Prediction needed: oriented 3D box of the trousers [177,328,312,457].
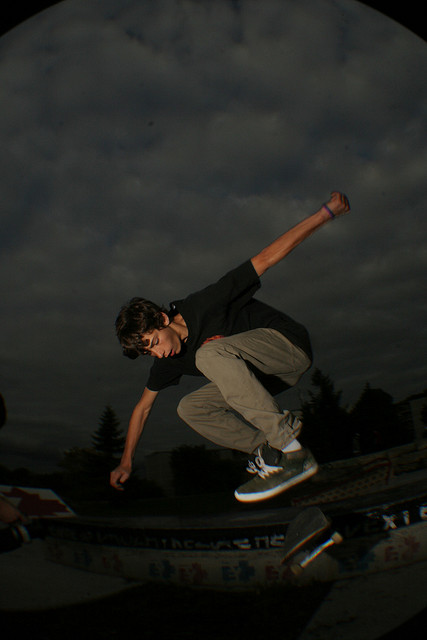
[{"bbox_3d":[0.332,0.754,6.410,1.208,1.378,1.037,-12,-46,-24],"label":"trousers"}]
